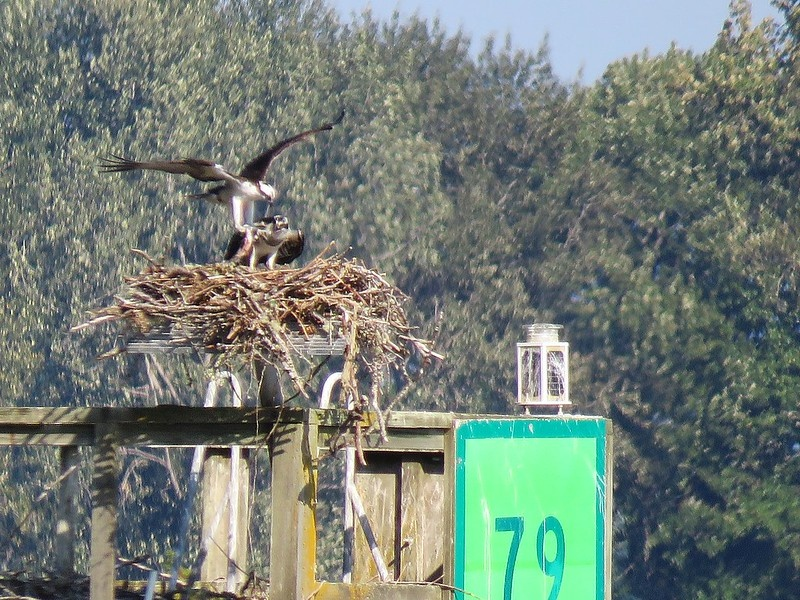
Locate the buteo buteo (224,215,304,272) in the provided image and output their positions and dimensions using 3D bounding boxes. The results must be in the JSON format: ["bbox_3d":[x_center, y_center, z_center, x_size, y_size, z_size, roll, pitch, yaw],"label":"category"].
[{"bbox_3d":[-2.850,-1.339,57.519,1.077,0.677,1.404,4,-9,-29],"label":"buteo buteo"}]
